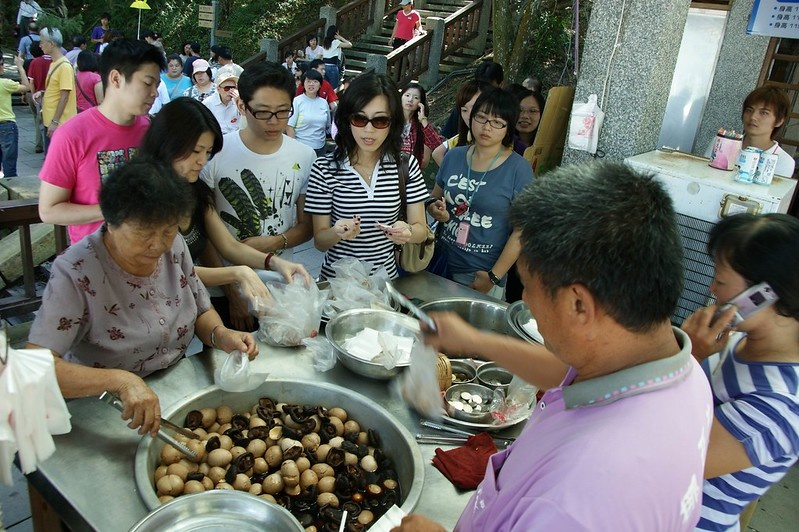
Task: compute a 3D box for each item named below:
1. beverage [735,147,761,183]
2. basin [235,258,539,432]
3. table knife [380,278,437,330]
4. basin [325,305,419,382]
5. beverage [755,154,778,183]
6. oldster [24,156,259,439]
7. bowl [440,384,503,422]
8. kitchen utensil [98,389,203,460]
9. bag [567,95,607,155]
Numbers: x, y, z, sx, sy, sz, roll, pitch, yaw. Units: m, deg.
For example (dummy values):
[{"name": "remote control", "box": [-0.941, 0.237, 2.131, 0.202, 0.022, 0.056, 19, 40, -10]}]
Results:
[{"name": "beverage", "box": [2.701, -0.775, 4.192, 0.155, 0.274, 0.158, -13, 31, 1]}, {"name": "basin", "box": [0.084, 0.443, 2.734, 1.059, 0.152, 0.783, 12, 28, 16]}, {"name": "table knife", "box": [0.039, 0.227, 3.070, 0.535, 0.075, 0.075, 41, 5, 39]}, {"name": "basin", "box": [-0.149, 0.420, 2.983, 0.377, 0.146, 0.377, 2, 33, -2]}, {"name": "beverage", "box": [2.758, -0.717, 4.106, 0.114, 0.226, 0.072, 12, 18, 20]}, {"name": "oldster", "box": [-1.214, 0.155, 2.640, 0.720, 1.268, 0.838, 24, 32, 15]}, {"name": "bowl", "box": [0.332, 0.687, 2.642, 0.272, 0.100, 0.272, 6, 12, -1]}, {"name": "kitchen utensil", "box": [-1.086, 0.696, 2.345, 0.397, 0.044, 0.077, 43, 45, -7]}, {"name": "bag", "box": [1.695, -1.250, 4.897, 0.306, 0.548, 0.313, 21, 38, 29]}]
